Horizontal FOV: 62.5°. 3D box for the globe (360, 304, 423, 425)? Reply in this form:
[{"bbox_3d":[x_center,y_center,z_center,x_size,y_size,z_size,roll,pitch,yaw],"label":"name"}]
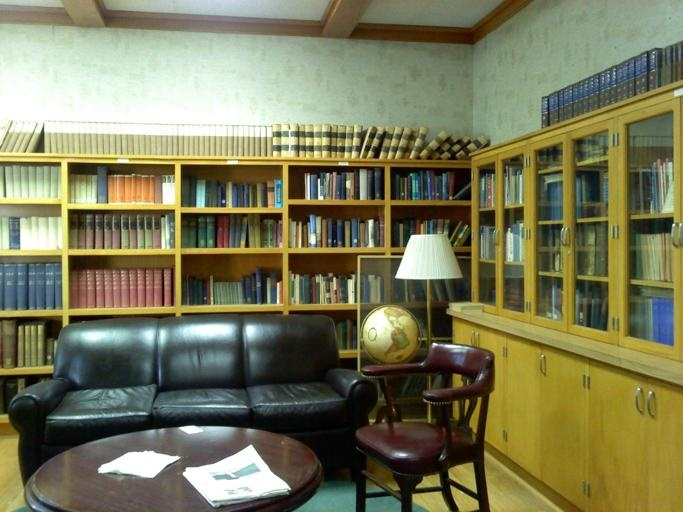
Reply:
[{"bbox_3d":[0.409,0.957,4.873,0.697,1.037,0.492,-1,-5,-18],"label":"globe"}]

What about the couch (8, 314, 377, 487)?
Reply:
[{"bbox_3d":[-0.988,1.465,4.341,2.870,1.021,1.137,0,-9,-4],"label":"couch"}]
